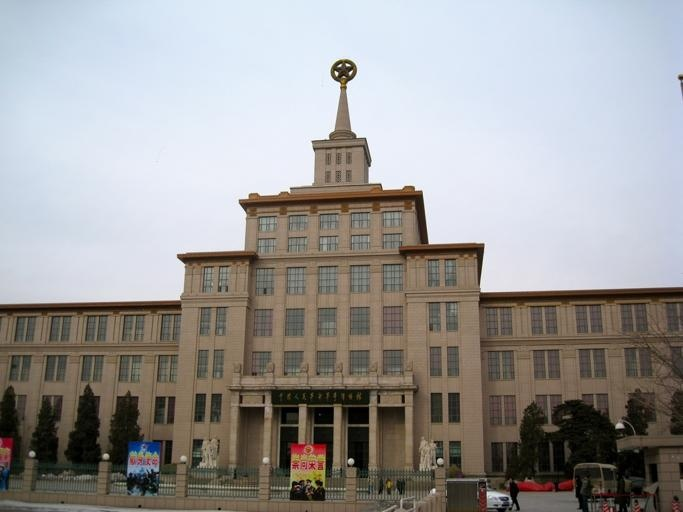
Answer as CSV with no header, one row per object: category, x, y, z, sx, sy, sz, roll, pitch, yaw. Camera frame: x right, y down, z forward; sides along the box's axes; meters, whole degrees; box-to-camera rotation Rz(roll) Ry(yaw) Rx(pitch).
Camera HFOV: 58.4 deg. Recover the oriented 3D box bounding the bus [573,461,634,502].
bus,18.189,15.784,42.924,4.302,2.403,2.321,15,-22,-42
